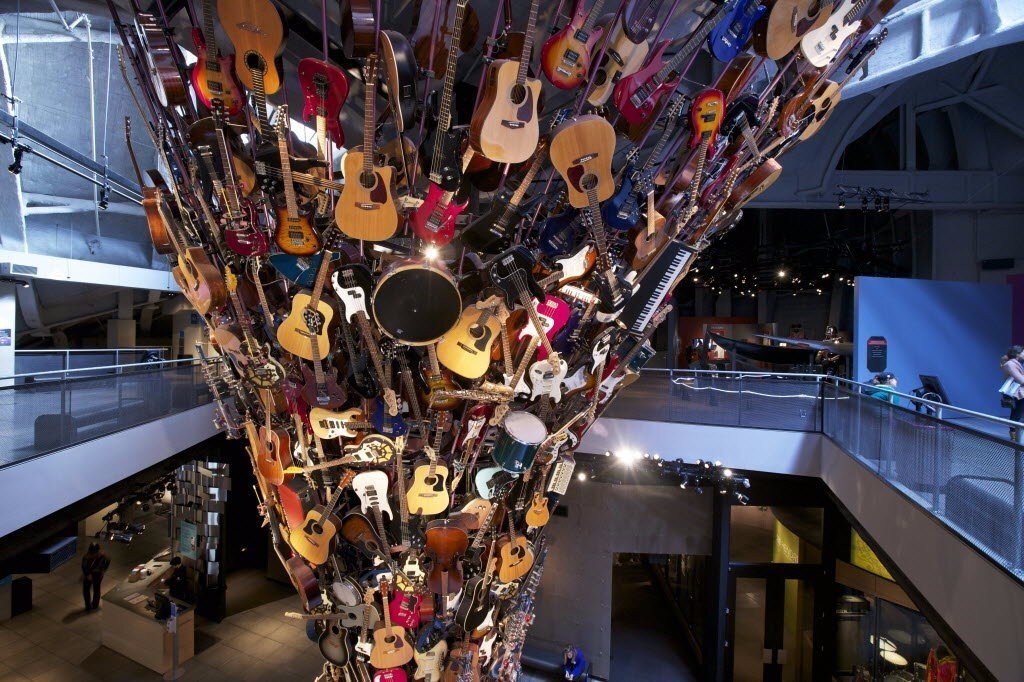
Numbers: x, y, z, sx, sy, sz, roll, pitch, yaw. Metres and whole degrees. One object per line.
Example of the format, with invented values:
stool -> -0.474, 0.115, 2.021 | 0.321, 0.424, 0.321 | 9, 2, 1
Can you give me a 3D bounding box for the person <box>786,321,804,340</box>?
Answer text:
person -> 9.258, -0.359, 22.709 | 0.388, 0.419, 0.707 | -5, 15, 7
